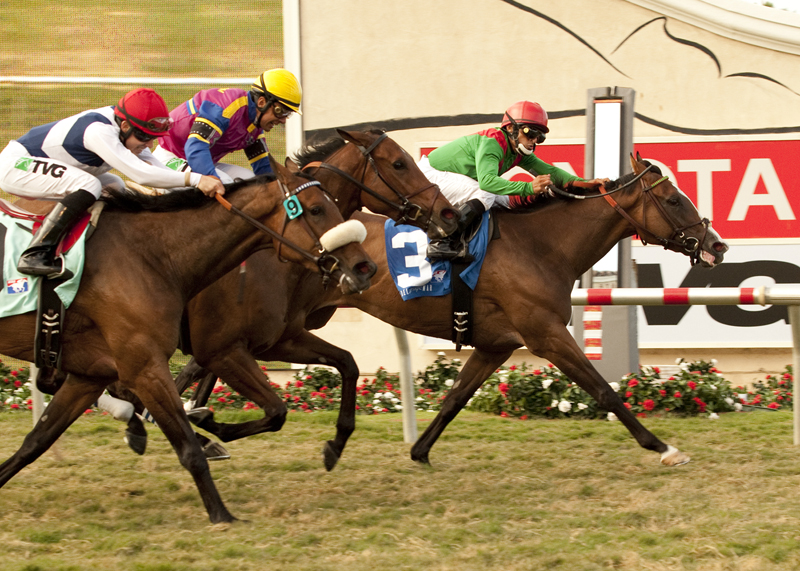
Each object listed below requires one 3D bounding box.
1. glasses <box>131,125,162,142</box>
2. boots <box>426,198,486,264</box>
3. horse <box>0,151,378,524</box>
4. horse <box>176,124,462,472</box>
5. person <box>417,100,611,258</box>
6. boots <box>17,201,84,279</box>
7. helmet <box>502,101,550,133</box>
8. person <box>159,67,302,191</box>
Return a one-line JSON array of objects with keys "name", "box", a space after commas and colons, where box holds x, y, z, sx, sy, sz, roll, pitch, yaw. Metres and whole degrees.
[{"name": "glasses", "box": [-1.275, -0.782, 5.243, 0.100, 0.095, 0.043, -13, 16, 19]}, {"name": "boots", "box": [0.331, -0.294, 5.826, 0.291, 0.334, 0.206, 5, 8, 43]}, {"name": "horse", "box": [-0.960, 0.307, 5.131, 1.438, 1.698, 0.510, -1, 10, -2]}, {"name": "horse", "box": [-0.711, 0.223, 6.263, 0.900, 1.550, 3.072, 4, 3, -26]}, {"name": "person", "box": [0.686, -0.648, 6.162, 1.370, 0.755, 0.608, -5, 9, 8]}, {"name": "boots", "box": [-1.690, -0.209, 5.023, 0.335, 0.368, 0.172, -4, 10, -18]}, {"name": "helmet", "box": [0.740, -0.993, 6.056, 0.298, 0.114, 0.190, 3, 3, 8]}, {"name": "person", "box": [-1.012, -0.769, 5.797, 0.963, 0.738, 0.587, 3, 9, 9]}]
